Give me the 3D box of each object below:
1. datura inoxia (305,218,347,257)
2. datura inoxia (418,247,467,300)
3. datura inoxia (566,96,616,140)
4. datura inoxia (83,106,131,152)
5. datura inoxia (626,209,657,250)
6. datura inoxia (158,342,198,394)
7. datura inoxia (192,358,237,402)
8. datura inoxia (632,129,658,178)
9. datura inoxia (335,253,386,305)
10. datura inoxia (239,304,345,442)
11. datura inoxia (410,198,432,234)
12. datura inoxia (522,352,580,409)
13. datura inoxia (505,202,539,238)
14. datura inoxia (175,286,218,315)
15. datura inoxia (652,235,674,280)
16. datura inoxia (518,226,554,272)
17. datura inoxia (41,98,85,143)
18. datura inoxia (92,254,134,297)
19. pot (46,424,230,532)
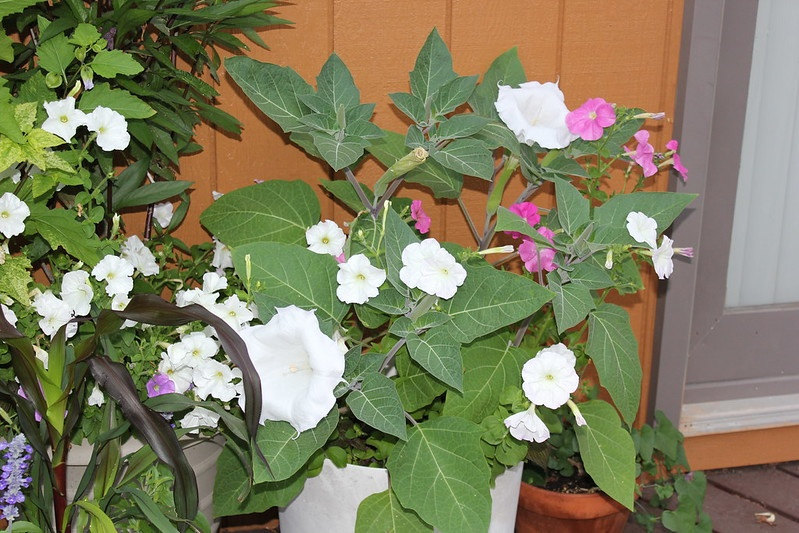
[{"bbox_3d":[-0.163,-0.061,1.577,0.086,0.070,0.126,-4,-1,2],"label":"datura inoxia"},{"bbox_3d":[0.091,0.007,1.426,0.076,0.031,0.080,36,28,15],"label":"datura inoxia"},{"bbox_3d":[0.452,-0.332,1.643,0.091,0.093,0.160,-5,-1,39],"label":"datura inoxia"},{"bbox_3d":[-0.621,-0.296,1.540,0.084,0.068,0.059,-3,-1,-25],"label":"datura inoxia"},{"bbox_3d":[0.518,-0.077,1.524,0.092,0.080,0.042,-3,-1,-31],"label":"datura inoxia"},{"bbox_3d":[-0.466,0.216,1.521,0.087,0.104,0.036,15,-1,-31],"label":"datura inoxia"},{"bbox_3d":[-0.378,0.218,1.447,0.074,0.091,0.033,-1,12,6],"label":"datura inoxia"},{"bbox_3d":[0.598,-0.282,1.783,0.077,0.118,0.031,-3,-1,-29],"label":"datura inoxia"},{"bbox_3d":[-0.079,0.025,1.474,0.100,0.085,0.052,-4,-1,-5],"label":"datura inoxia"},{"bbox_3d":[-0.201,0.182,1.374,0.209,0.239,0.086,-6,2,17],"label":"datura inoxia"},{"bbox_3d":[0.039,-0.118,1.761,0.061,0.024,0.051,-27,5,41],"label":"datura inoxia"},{"bbox_3d":[0.318,0.238,1.533,0.118,0.118,0.048,-4,-1,-14],"label":"datura inoxia"},{"bbox_3d":[0.295,-0.112,1.708,0.076,0.086,0.024,20,-6,-11],"label":"datura inoxia"},{"bbox_3d":[-0.420,0.071,1.483,0.080,0.036,0.102,-4,-1,2],"label":"datura inoxia"},{"bbox_3d":[0.580,-0.021,1.589,0.045,0.094,0.159,-4,-1,21],"label":"datura inoxia"},{"bbox_3d":[0.312,-0.027,1.644,0.023,0.074,0.078,-18,-47,29],"label":"datura inoxia"},{"bbox_3d":[-0.701,-0.308,1.515,0.083,0.066,0.083,-3,-1,-34],"label":"datura inoxia"},{"bbox_3d":[-0.598,0.019,1.524,0.085,0.081,0.035,43,-16,-17],"label":"datura inoxia"},{"bbox_3d":[-0.569,0.436,1.659,0.226,0.218,0.285,1,-1,25],"label":"pot"}]
